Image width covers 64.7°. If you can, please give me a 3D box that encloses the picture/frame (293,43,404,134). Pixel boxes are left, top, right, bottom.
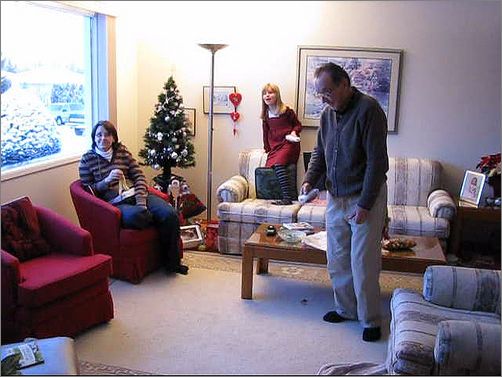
[{"bbox_3d":[1.063,-1.082,4.072,1.365,1.155,0.057,1,3,5],"label":"picture/frame"}]

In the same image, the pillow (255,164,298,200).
[{"bbox_3d":[0.260,-0.064,4.871,0.434,0.460,0.178,2,2,16],"label":"pillow"}]

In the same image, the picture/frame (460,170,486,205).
[{"bbox_3d":[2.597,-0.002,4.622,0.050,0.531,0.388,11,-6,-21],"label":"picture/frame"}]

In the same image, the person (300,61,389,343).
[{"bbox_3d":[0.711,0.115,2.965,0.673,2.002,0.424,6,14,21],"label":"person"}]

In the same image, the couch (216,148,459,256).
[{"bbox_3d":[1.002,0.203,4.784,2.622,1.282,1.219,3,7,14],"label":"couch"}]

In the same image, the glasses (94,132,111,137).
[{"bbox_3d":[-1.468,-0.535,3.940,0.148,0.048,0.070,-5,15,-21],"label":"glasses"}]
